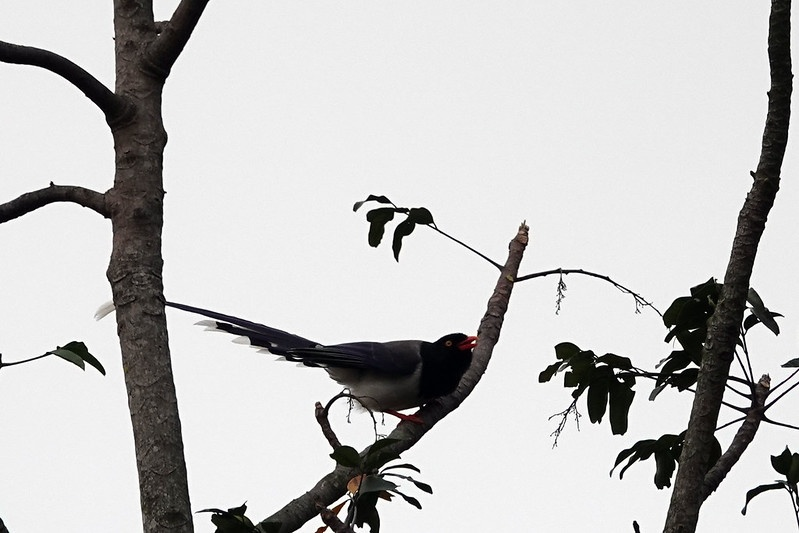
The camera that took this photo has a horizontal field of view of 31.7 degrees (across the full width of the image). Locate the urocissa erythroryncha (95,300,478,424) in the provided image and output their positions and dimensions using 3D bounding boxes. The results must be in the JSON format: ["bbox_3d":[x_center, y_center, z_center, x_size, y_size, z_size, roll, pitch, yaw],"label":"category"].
[{"bbox_3d":[-0.504,0.480,6.819,2.122,0.535,0.695,7,-97,-10],"label":"urocissa erythroryncha"}]
